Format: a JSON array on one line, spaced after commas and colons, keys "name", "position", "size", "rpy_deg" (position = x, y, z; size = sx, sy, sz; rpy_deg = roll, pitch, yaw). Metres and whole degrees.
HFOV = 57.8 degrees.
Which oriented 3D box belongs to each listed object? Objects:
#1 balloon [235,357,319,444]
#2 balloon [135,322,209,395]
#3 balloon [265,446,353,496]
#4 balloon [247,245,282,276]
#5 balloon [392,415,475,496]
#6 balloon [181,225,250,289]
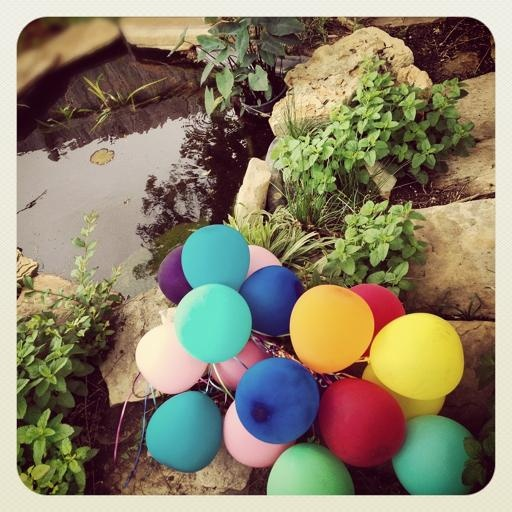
[{"name": "balloon", "position": [0.076, 0.470, 1.665], "size": [0.315, 0.341, 0.263], "rpy_deg": [9, 88, -3]}, {"name": "balloon", "position": [-0.294, 0.398, 1.820], "size": [0.295, 0.270, 0.284], "rpy_deg": [4, 79, 3]}, {"name": "balloon", "position": [0.189, 0.737, 1.587], "size": [0.178, 0.184, 0.161], "rpy_deg": [-29, 20, -18]}, {"name": "balloon", "position": [0.018, 0.010, 1.881], "size": [0.142, 0.138, 0.121], "rpy_deg": [2, 26, -8]}, {"name": "balloon", "position": [0.598, 0.675, 1.711], "size": [0.308, 0.275, 0.299], "rpy_deg": [-5, 93, 18]}, {"name": "balloon", "position": [-0.102, -0.008, 1.805], "size": [0.274, 0.226, 0.282], "rpy_deg": [-7, 25, 8]}]
